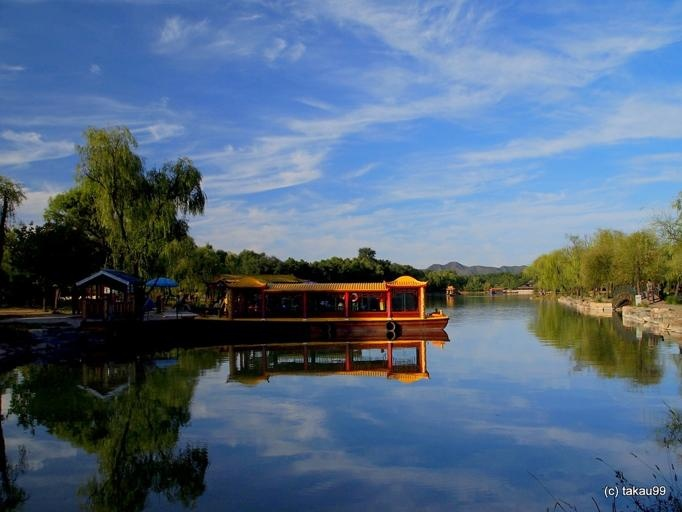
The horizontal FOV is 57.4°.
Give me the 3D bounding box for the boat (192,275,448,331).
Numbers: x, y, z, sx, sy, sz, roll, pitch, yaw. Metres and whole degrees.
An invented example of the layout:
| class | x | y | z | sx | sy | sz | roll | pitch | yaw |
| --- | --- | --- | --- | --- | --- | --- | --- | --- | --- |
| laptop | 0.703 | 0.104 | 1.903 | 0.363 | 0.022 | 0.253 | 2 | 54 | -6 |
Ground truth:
| class | x | y | z | sx | sy | sz | roll | pitch | yaw |
| --- | --- | --- | --- | --- | --- | --- | --- | --- | --- |
| boat | -1.079 | 3.656 | 51.370 | 16.988 | 4.130 | 6.996 | 0 | 5 | -5 |
